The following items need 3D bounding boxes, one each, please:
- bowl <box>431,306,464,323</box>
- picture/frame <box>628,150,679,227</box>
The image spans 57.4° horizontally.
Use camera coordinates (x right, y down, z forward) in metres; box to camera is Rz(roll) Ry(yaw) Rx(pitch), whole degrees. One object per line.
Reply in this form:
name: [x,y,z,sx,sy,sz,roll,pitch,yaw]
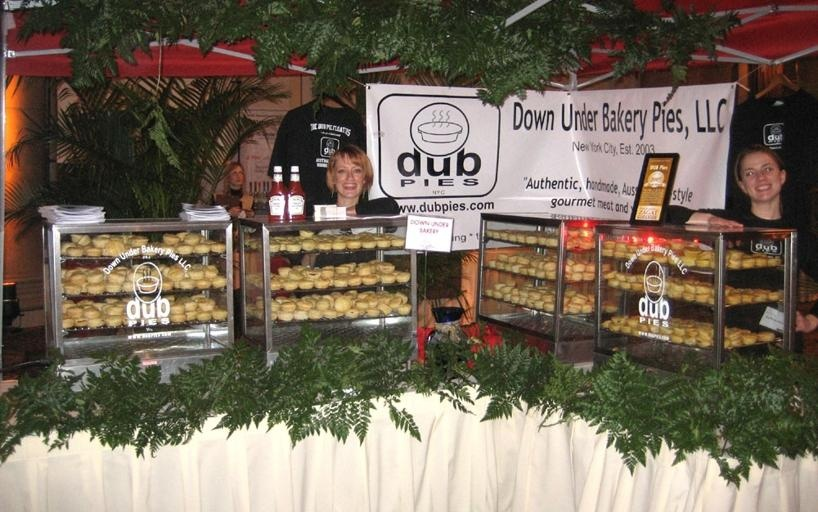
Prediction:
bowl: [0.274,0.410,5.266,0.288,0.111,0.276,1,-5,0]
picture/frame: [1.783,-0.483,5.362,0.276,0.509,0.256,-4,6,-42]
